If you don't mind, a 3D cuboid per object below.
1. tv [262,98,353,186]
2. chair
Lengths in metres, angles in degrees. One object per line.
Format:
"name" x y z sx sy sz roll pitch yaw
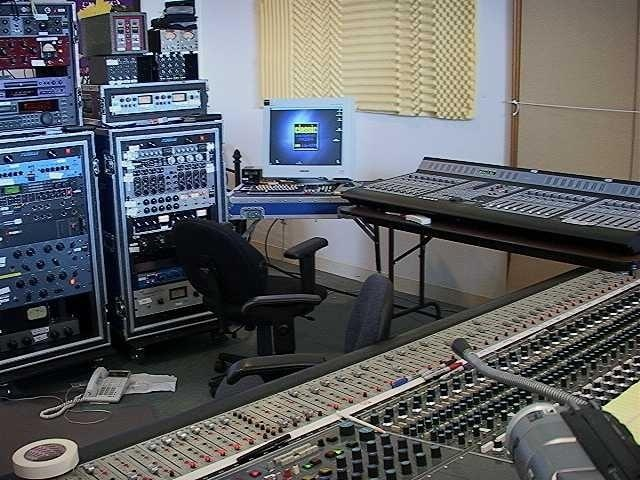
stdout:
"tv" -0.357 -0.925 4.669 0.686 0.671 1.091 12 18 35
"chair" 0.225 0.205 3.185 1.441 1.000 1.053 -18 19 -31
